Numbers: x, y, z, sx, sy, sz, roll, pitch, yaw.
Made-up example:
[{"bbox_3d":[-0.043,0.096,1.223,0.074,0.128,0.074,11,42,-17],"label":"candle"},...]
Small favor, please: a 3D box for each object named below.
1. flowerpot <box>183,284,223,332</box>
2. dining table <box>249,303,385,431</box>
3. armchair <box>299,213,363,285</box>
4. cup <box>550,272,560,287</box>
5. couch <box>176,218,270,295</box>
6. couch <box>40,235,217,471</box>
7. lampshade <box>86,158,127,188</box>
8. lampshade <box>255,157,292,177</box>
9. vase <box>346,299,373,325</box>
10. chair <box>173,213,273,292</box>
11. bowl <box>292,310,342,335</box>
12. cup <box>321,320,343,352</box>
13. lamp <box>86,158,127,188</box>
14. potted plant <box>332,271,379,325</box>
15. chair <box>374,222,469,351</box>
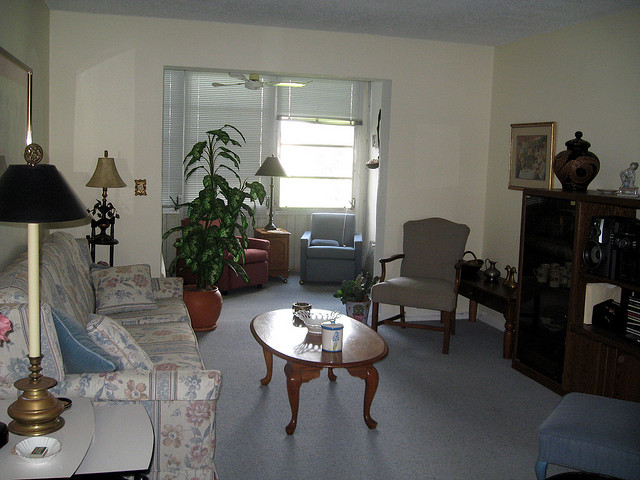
[{"bbox_3d":[-1.185,0.675,4.970,0.360,0.485,0.262,-2,12,-17],"label":"flowerpot"},{"bbox_3d":[-0.020,0.971,3.722,0.914,0.588,1.439,2,6,-19],"label":"dining table"},{"bbox_3d":[0.148,0.149,7.224,1.074,1.247,0.906,0,1,3],"label":"armchair"},{"bbox_3d":[1.881,0.318,3.948,0.085,0.103,0.088,1,3,0],"label":"cup"},{"bbox_3d":[-1.209,0.167,6.550,1.026,1.192,1.048,3,4,42],"label":"couch"},{"bbox_3d":[-1.137,0.634,2.941,0.616,0.652,1.282,0,9,-17],"label":"couch"},{"bbox_3d":[-1.944,-0.632,4.488,0.365,0.312,0.379,1,19,-16],"label":"lampshade"},{"bbox_3d":[-0.658,-1.025,7.162,0.331,0.224,0.323,-3,6,-38],"label":"lampshade"},{"bbox_3d":[0.411,0.756,5.138,0.231,0.199,0.256,1,-2,1],"label":"vase"},{"bbox_3d":[-1.043,0.143,5.328,0.951,0.814,0.959,-1,2,-26],"label":"chair"},{"bbox_3d":[-0.003,0.585,3.600,0.203,0.061,0.196,0,5,0],"label":"bowl"},{"bbox_3d":[0.040,0.658,3.295,0.181,0.191,0.143,-4,7,10],"label":"cup"},{"bbox_3d":[-1.908,-0.585,4.438,0.265,0.214,0.274,2,8,10],"label":"lamp"},{"bbox_3d":[0.353,0.608,5.322,0.526,0.629,0.467,0,2,-14],"label":"potted plant"},{"bbox_3d":[1.026,0.429,5.021,1.020,1.272,1.042,2,6,-6],"label":"chair"}]
